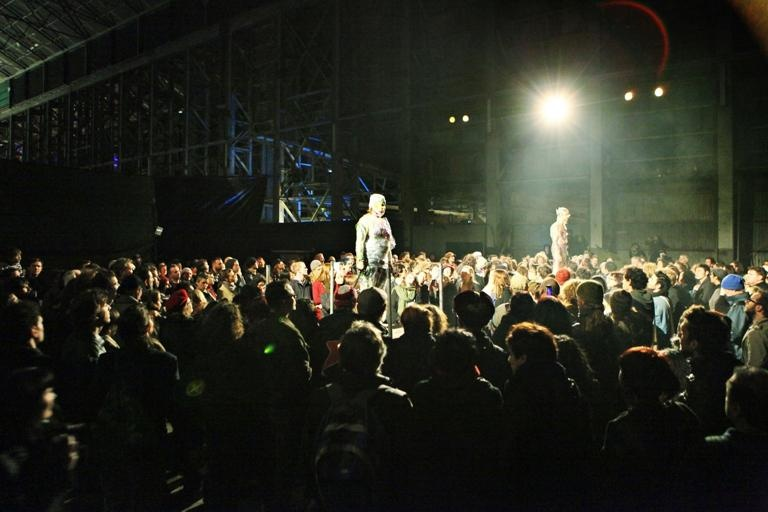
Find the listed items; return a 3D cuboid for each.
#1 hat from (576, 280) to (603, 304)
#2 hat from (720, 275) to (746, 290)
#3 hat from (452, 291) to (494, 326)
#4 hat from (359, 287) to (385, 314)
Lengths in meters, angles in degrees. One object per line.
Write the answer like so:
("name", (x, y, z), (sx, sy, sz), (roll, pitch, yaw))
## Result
("hat", (3.294, 0.601, 11.377), (0.387, 0.301, 0.383), (23, 0, -22))
("hat", (6.142, 0.467, 12.646), (0.292, 0.198, 0.295), (3, 6, 23))
("hat", (1.377, 0.803, 11.020), (0.621, 0.541, 0.509), (8, -11, 8))
("hat", (-0.178, 0.684, 10.986), (0.338, 0.373, 0.430), (2, 8, 1))
